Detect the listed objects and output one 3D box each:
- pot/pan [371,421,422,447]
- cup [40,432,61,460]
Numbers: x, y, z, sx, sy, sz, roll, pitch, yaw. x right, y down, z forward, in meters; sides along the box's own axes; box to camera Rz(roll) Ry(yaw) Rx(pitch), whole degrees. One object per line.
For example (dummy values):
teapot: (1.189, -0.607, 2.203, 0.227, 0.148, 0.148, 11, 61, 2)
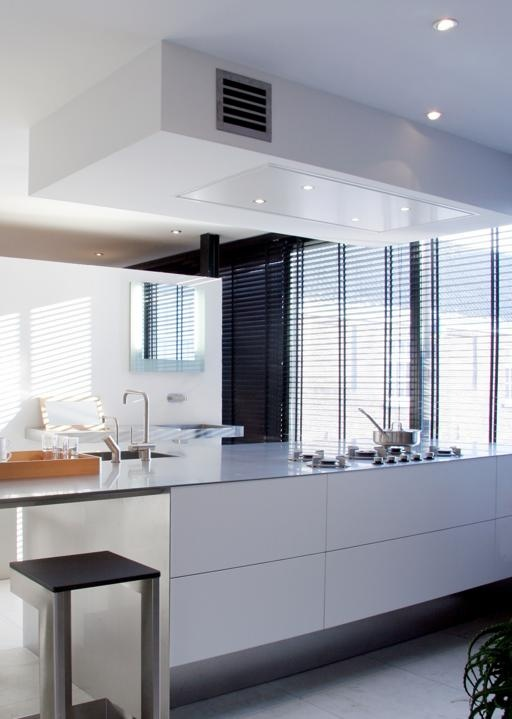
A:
pot/pan: (0.764, 0.391, 3.325, 0.167, 0.070, 0.127, 0, -1, -21)
cup: (-0.776, 0.328, 2.418, 0.125, 0.094, 0.055, -3, -6, 40)
